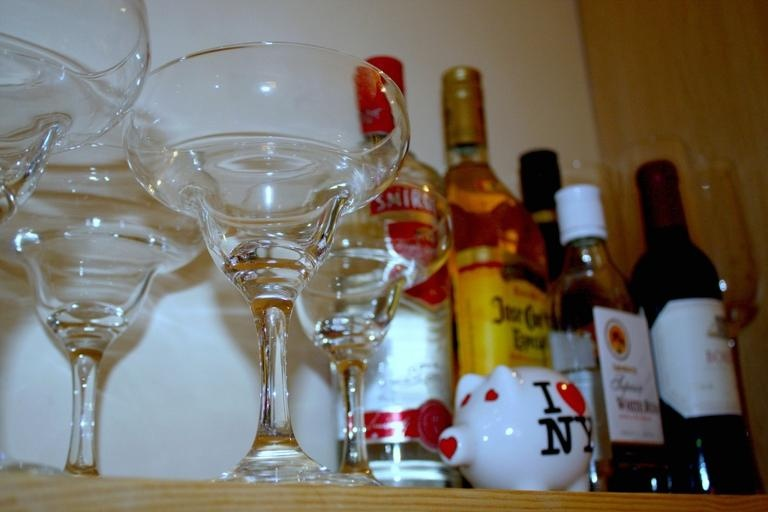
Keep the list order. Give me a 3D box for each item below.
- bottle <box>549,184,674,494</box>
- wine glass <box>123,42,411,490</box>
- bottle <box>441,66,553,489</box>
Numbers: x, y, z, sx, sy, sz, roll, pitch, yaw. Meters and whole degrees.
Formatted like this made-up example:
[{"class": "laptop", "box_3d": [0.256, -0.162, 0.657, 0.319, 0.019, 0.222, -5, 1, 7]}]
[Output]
[{"class": "bottle", "box_3d": [0.220, 0.075, 0.678, 0.107, 0.304, 0.055, -2, -19, 5]}, {"class": "wine glass", "box_3d": [-0.084, 0.003, 0.475, 0.192, 0.295, 0.109, 9, -21, -25]}, {"class": "bottle", "box_3d": [0.110, -0.004, 0.684, 0.102, 0.445, 0.115, -5, -19, 12]}]
